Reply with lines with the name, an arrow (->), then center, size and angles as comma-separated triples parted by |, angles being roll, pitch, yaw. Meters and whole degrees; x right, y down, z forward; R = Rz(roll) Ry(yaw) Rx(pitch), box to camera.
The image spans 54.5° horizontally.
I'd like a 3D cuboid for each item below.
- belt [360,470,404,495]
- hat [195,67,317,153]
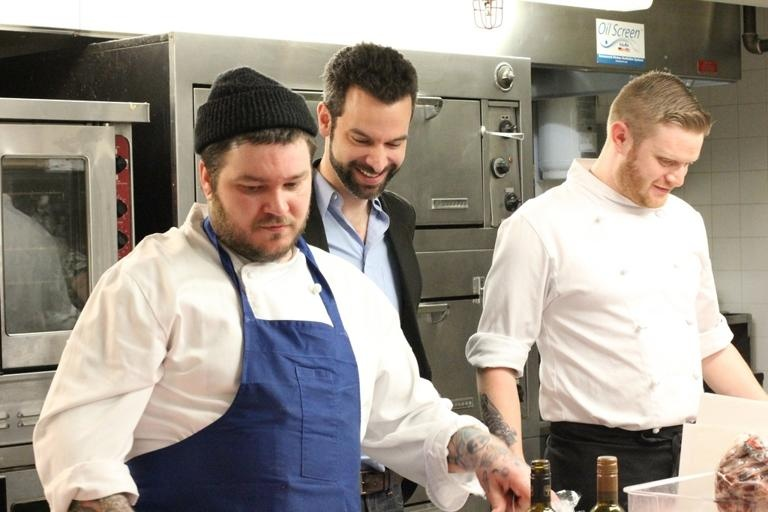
belt -> -0.025, 0.660, 2.192 | 0.091, 0.042, 0.068 | -1, -5, 0
hat -> -0.337, -0.373, 1.869 | 0.293, 0.194, 0.307 | -5, 5, 41
